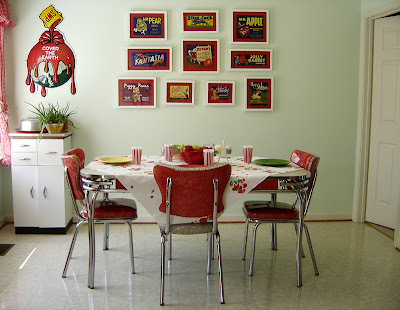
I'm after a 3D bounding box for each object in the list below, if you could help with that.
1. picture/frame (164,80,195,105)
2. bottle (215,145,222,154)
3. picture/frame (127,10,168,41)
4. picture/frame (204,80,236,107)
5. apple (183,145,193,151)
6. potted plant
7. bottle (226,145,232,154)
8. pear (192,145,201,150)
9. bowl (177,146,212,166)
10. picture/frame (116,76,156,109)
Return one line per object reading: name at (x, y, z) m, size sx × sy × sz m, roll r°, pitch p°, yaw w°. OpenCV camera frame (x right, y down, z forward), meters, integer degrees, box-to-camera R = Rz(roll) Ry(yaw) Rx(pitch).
picture/frame at (-0.257, -0.768, 4.006) m, size 0.285 × 0.243 × 0.021 m, roll 1°, pitch 6°, yaw -4°
bottle at (0.172, -0.050, 3.108) m, size 0.069 × 0.074 × 0.130 m, roll -1°, pitch 10°, yaw 3°
picture/frame at (-0.630, -1.543, 3.924) m, size 0.344 × 0.249 × 0.028 m, roll 0°, pitch 8°, yaw -1°
picture/frame at (0.231, -0.757, 4.026) m, size 0.295 × 0.253 × 0.023 m, roll 0°, pitch 5°, yaw -6°
apple at (-0.102, -0.058, 2.889) m, size 0.054 × 0.056 × 0.053 m, roll 6°, pitch -6°, yaw 0°
potted plant at (-1.694, -0.365, 3.866) m, size 0.486 × 0.268 × 0.476 m, roll 0°, pitch 4°, yaw -35°
bottle at (0.262, -0.050, 3.150) m, size 0.072 × 0.071 × 0.073 m, roll 1°, pitch 2°, yaw 40°
pear at (-0.032, -0.072, 2.964) m, size 0.047 × 0.049 × 0.048 m, roll -4°, pitch 12°, yaw -31°
bowl at (-0.066, -0.014, 2.901) m, size 0.194 × 0.112 × 0.198 m, roll 1°, pitch 2°, yaw 0°
picture/frame at (-0.776, -0.769, 3.990) m, size 0.368 × 0.301 × 0.028 m, roll 0°, pitch 4°, yaw -3°
